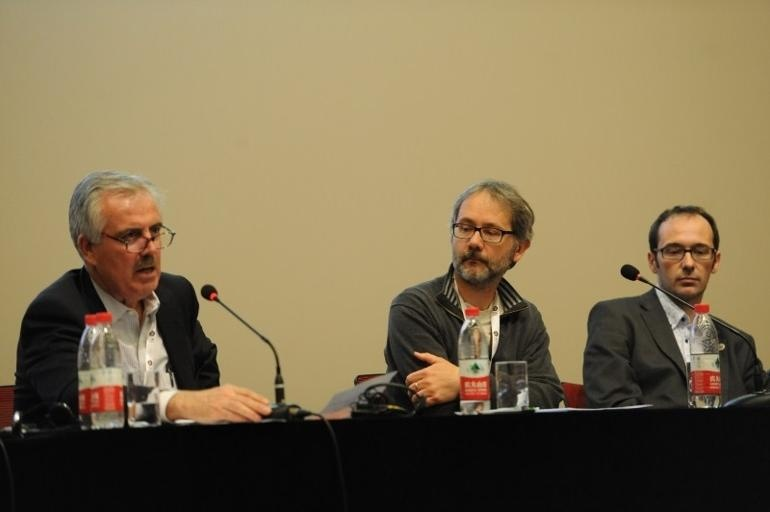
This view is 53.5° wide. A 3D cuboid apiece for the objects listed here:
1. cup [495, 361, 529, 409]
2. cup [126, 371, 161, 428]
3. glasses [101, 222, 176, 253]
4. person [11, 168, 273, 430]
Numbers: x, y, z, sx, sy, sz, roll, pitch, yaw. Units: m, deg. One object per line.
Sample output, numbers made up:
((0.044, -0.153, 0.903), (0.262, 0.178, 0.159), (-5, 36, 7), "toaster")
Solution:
((0.489, 0.482, 2.819), (0.134, 0.186, 0.101), (-6, -9, 32), "cup")
((-0.871, 0.527, 2.764), (0.138, 0.233, 0.129), (-3, -12, -1), "cup")
((-1.101, -0.080, 3.390), (0.204, 0.061, 0.206), (-12, -8, 42), "glasses")
((-0.927, 0.229, 3.538), (1.220, 1.309, 1.009), (-8, -8, 34), "person")
